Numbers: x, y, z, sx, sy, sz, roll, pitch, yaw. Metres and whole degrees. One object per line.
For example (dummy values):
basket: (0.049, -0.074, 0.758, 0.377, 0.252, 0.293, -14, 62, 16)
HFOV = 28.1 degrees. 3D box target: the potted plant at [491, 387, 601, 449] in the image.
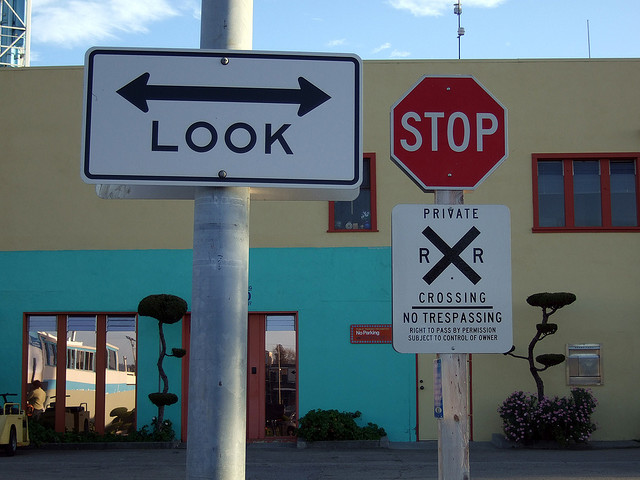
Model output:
potted plant: (6.455, 5.036, 36.253, 2.676, 1.604, 0.988, -3, -11, 8)

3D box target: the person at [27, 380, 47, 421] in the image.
person: (-8.457, 4.723, 38.206, 0.571, 1.162, 0.295, 1, -11, -13)

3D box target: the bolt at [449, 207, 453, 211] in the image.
bolt: (2.524, -0.589, 24.419, 0.053, 0.059, 0.031, 0, 2, 7)

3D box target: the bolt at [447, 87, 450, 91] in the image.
bolt: (2.484, -2.886, 24.505, 0.046, 0.052, 0.025, 15, 1, 4)

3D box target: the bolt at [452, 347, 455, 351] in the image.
bolt: (2.565, 2.041, 24.339, 0.057, 0.065, 0.015, -2, -5, 7)

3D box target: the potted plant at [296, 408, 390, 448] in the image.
potted plant: (0.564, 5.532, 37.002, 1.756, 0.963, 1.335, 1, -5, -7)
